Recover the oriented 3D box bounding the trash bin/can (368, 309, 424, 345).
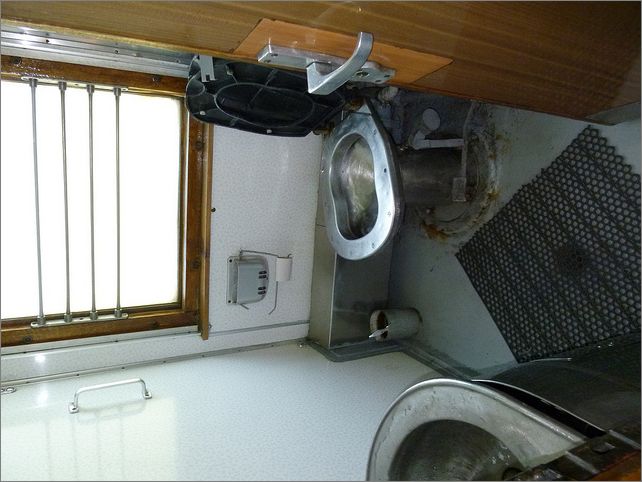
[{"bbox_3d":[0.416,0.537,2.987,0.373,0.227,0.253,0,-14,-28],"label":"trash bin/can"}]
